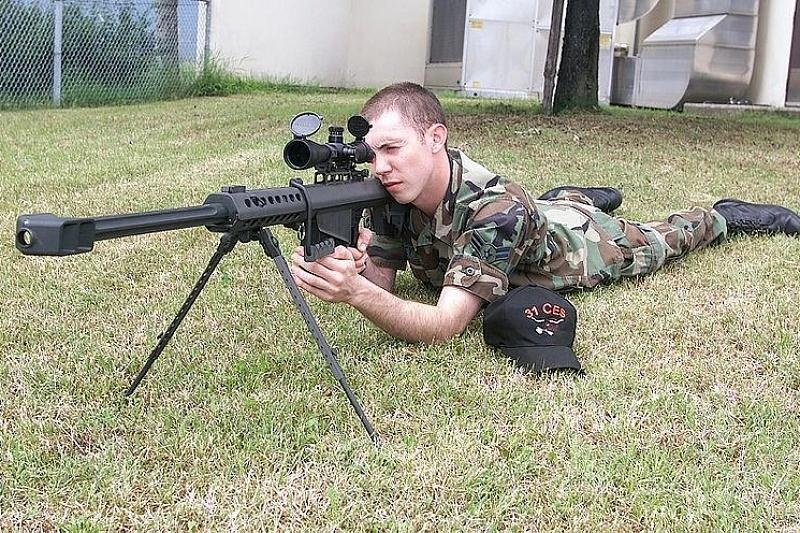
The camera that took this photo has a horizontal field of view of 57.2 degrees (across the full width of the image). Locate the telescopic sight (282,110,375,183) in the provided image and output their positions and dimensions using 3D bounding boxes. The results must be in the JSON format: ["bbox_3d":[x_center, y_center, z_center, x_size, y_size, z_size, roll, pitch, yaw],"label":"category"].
[{"bbox_3d":[-0.390,-0.686,4.223,0.272,0.411,0.703,7,11,27],"label":"telescopic sight"}]
